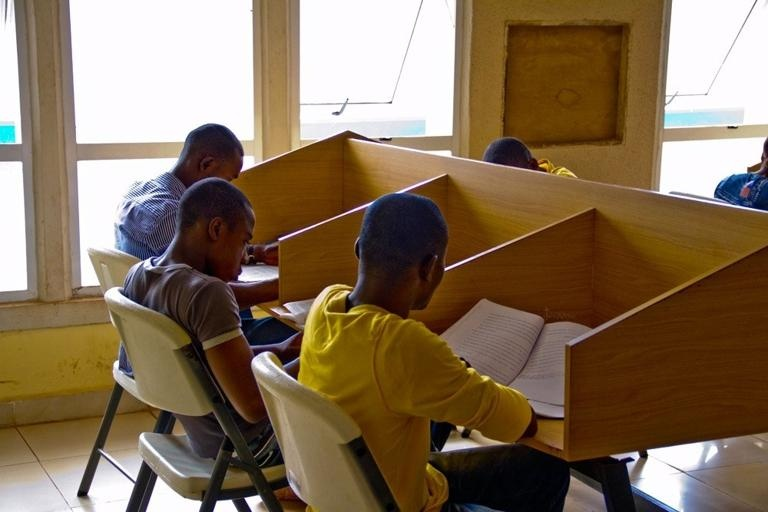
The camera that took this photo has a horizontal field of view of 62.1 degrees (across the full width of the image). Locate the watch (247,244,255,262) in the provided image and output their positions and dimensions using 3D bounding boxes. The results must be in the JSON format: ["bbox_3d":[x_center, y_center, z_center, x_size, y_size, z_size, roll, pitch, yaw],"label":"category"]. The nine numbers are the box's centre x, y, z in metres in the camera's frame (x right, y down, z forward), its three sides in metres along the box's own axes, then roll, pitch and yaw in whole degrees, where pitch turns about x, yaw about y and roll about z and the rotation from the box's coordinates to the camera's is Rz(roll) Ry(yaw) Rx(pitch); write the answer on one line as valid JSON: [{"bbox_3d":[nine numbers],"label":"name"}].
[{"bbox_3d":[-0.648,-0.012,3.118,0.047,0.064,0.024,1,-3,5],"label":"watch"}]

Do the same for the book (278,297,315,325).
[{"bbox_3d":[-0.324,0.208,2.425,0.111,0.041,0.108,-14,28,-42],"label":"book"}]

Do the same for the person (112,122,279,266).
[{"bbox_3d":[-0.895,-0.300,2.890,0.462,0.651,0.794,13,13,-24],"label":"person"}]
